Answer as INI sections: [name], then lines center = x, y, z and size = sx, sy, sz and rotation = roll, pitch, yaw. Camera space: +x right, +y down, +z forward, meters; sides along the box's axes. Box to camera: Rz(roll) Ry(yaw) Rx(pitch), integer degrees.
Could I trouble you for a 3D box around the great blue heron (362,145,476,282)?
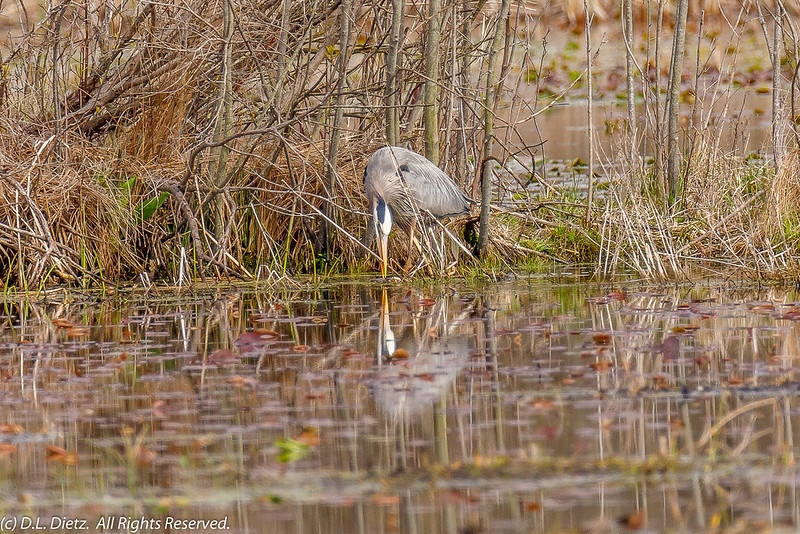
[great blue heron]
center = 0.160, -0.425, 10.423
size = 0.977, 0.970, 0.522
rotation = -16, 6, -34
